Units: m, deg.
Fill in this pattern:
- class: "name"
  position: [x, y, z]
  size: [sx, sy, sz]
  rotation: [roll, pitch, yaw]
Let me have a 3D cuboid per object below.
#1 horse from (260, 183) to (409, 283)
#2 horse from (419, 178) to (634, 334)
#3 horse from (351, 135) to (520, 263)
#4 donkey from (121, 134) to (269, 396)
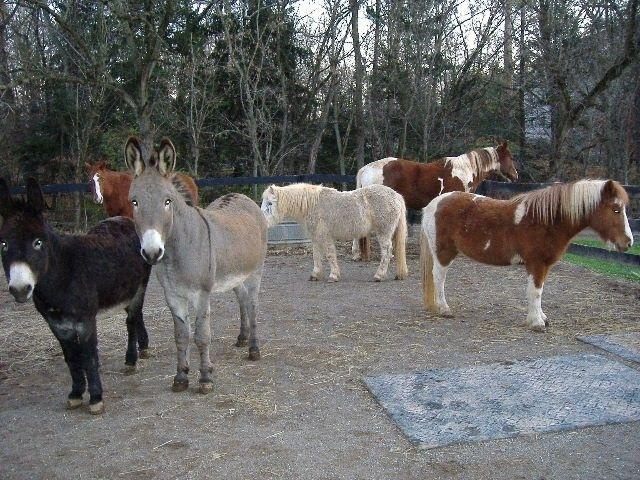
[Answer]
- class: "horse"
  position: [0.322, -0.150, 12.655]
  size: [2.758, 2.082, 0.860]
  rotation: [-1, 15, -4]
- class: "horse"
  position: [2.816, 0.183, 9.393]
  size: [2.850, 2.060, 0.617]
  rotation: [2, 5, 31]
- class: "horse"
  position: [2.673, -0.698, 14.562]
  size: [3.125, 2.815, 3.273]
  rotation: [0, 15, -24]
- class: "donkey"
  position: [-1.457, 0.375, 8.191]
  size: [0.891, 2.976, 3.243]
  rotation: [3, 4, 16]
